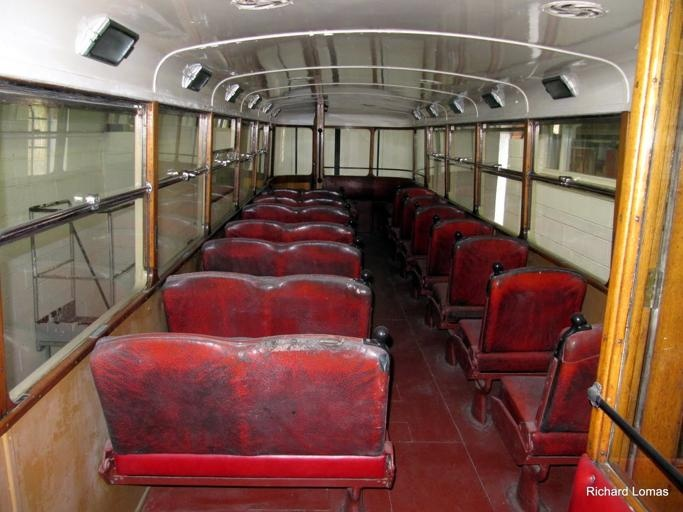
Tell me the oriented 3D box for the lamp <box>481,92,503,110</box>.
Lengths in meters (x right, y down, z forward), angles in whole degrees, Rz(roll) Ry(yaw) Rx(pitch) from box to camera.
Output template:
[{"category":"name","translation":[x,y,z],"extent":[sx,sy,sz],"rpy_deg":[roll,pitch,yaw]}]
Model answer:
[{"category":"lamp","translation":[2.203,-2.252,6.578],"extent":[0.226,0.248,0.614],"rpy_deg":[4,7,4]}]

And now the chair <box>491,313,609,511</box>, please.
[{"category":"chair","translation":[1.333,0.813,2.901],"extent":[0.423,1.060,0.740],"rpy_deg":[3,8,1]}]

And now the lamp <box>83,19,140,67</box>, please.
[{"category":"lamp","translation":[-1.499,-1.379,2.955],"extent":[0.073,0.283,0.280],"rpy_deg":[44,18,12]}]

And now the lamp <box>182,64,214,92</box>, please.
[{"category":"lamp","translation":[-1.529,-1.881,4.742],"extent":[0.092,0.235,0.309],"rpy_deg":[40,29,25]}]

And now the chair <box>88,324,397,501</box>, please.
[{"category":"chair","translation":[-0.458,0.778,2.246],"extent":[1.335,0.947,0.837],"rpy_deg":[1,19,0]}]

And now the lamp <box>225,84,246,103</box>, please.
[{"category":"lamp","translation":[-1.564,-2.376,6.603],"extent":[0.192,0.208,0.355],"rpy_deg":[39,7,-8]}]

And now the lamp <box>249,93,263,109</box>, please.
[{"category":"lamp","translation":[-1.614,-2.884,8.419],"extent":[0.202,0.140,0.371],"rpy_deg":[-11,-3,-19]}]
